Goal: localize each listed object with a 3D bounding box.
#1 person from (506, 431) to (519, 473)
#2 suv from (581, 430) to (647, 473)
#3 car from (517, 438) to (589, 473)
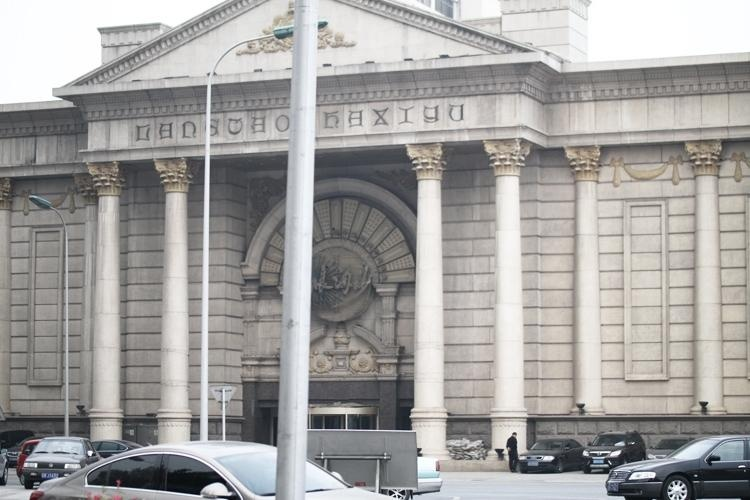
[{"bbox_3d":[6.234,9.453,116.000,0.563,1.836,0.595,-2,-12,2],"label":"person"},{"bbox_3d":[10.974,9.283,115.493,2.318,1.628,3.620,0,4,35],"label":"suv"},{"bbox_3d":[8.108,9.581,116.487,2.041,1.277,4.478,1,1,27],"label":"car"}]
